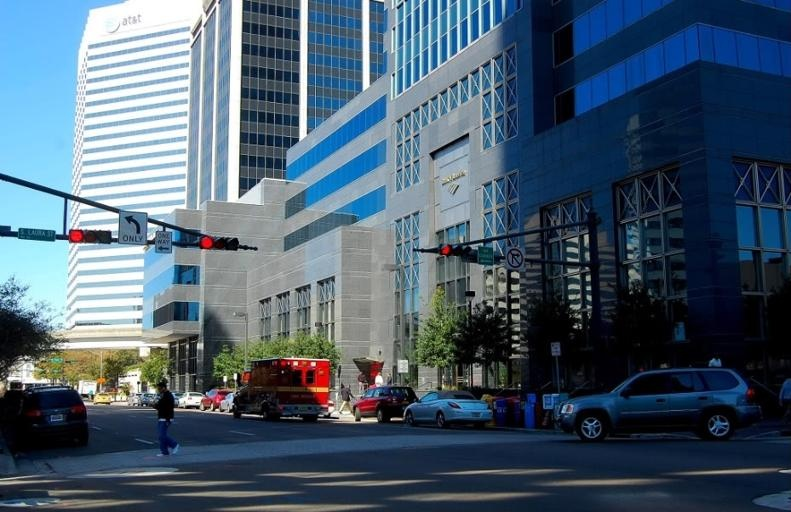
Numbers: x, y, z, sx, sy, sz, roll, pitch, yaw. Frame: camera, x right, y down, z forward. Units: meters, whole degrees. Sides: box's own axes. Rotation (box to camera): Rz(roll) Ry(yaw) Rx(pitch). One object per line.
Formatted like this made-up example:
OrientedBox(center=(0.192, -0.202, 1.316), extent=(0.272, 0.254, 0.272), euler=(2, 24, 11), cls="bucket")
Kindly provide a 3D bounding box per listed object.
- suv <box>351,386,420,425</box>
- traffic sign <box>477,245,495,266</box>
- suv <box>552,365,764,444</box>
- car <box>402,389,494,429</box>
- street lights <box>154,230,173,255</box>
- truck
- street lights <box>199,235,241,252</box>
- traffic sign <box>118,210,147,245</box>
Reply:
OrientedBox(center=(-0.781, 8.701, 51.681), extent=(2.436, 2.125, 5.086), euler=(3, -7, -28), cls="suv")
OrientedBox(center=(4.177, -0.008, 40.957), extent=(1.159, 0.991, 0.162), euler=(5, -11, -32), cls="traffic sign")
OrientedBox(center=(10.102, 5.705, 34.598), extent=(6.632, 2.422, 3.082), euler=(1, -12, 5), cls="suv")
OrientedBox(center=(2.582, 7.896, 45.792), extent=(2.665, 1.768, 5.889), euler=(5, -11, -25), cls="car")
OrientedBox(center=(-9.480, -0.620, 35.960), extent=(0.664, 0.997, 1.490), euler=(-2, -3, -15), cls="street lights")
OrientedBox(center=(-7.446, 8.604, 56.266), extent=(3.799, 3.513, 7.280), euler=(5, -10, -33), cls="truck")
OrientedBox(center=(-7.112, -0.543, 35.381), extent=(1.491, 0.533, 0.604), euler=(-2, -3, -16), cls="street lights")
OrientedBox(center=(-10.515, -1.106, 35.250), extent=(1.458, 1.633, 0.164), euler=(1, -4, -16), cls="traffic sign")
